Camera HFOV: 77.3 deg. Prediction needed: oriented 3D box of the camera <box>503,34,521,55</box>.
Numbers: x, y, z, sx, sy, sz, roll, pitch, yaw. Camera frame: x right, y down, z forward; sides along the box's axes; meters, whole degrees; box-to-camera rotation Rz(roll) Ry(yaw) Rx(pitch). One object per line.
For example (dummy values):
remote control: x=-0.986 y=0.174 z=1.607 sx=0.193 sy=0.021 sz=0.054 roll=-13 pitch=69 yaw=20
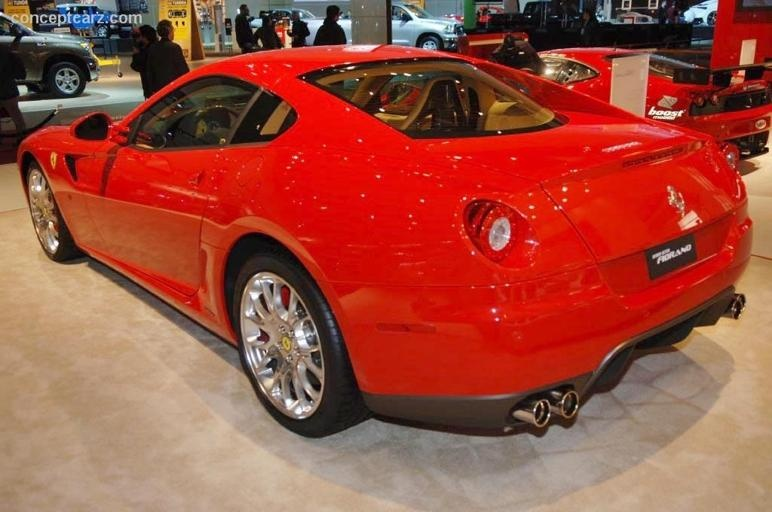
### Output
camera: x=2.093 y=-3.519 z=8.089 sx=0.298 sy=0.308 sz=0.756 roll=-7 pitch=26 yaw=11

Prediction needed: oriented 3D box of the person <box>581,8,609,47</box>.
person: x=6.304 y=-7.006 z=14.926 sx=0.289 sy=0.908 sz=1.053 roll=6 pitch=13 yaw=32

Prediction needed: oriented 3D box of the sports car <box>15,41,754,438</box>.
sports car: x=-0.592 y=-0.818 z=3.955 sx=2.900 sy=1.501 sz=5.298 roll=-23 pitch=34 yaw=-38

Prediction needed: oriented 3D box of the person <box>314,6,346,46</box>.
person: x=-1.189 y=-4.665 z=9.806 sx=0.574 sy=0.748 sz=0.751 roll=-5 pitch=24 yaw=-7
